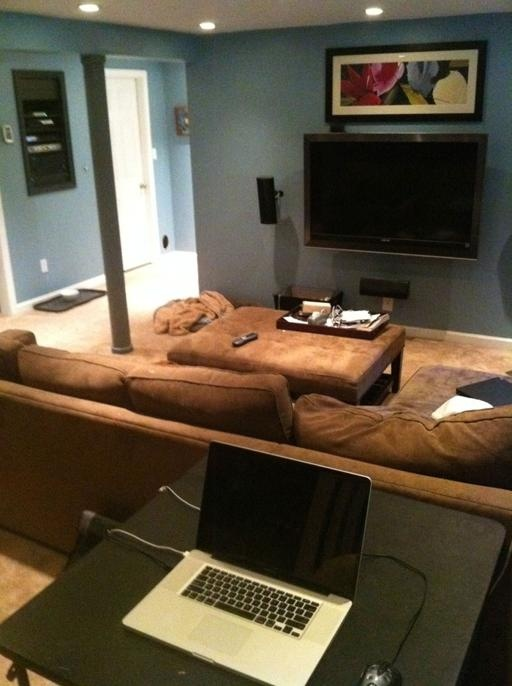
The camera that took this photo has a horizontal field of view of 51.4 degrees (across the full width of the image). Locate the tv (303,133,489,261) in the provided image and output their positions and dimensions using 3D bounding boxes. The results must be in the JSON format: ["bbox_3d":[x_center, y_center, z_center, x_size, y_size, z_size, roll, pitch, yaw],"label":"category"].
[{"bbox_3d":[1.142,-1.176,4.176,1.056,0.728,0.100,13,30,25],"label":"tv"}]

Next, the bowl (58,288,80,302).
[{"bbox_3d":[-1.978,-0.529,5.706,0.160,0.057,0.161,2,19,-1],"label":"bowl"}]

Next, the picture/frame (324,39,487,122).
[{"bbox_3d":[1.105,-1.960,4.008,1.183,0.580,0.020,1,4,5],"label":"picture/frame"}]

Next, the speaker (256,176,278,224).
[{"bbox_3d":[0.105,-1.250,4.663,0.152,0.385,0.159,-24,27,-39],"label":"speaker"}]

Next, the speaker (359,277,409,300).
[{"bbox_3d":[1.082,-0.463,4.502,0.302,0.211,0.070,10,21,25],"label":"speaker"}]
